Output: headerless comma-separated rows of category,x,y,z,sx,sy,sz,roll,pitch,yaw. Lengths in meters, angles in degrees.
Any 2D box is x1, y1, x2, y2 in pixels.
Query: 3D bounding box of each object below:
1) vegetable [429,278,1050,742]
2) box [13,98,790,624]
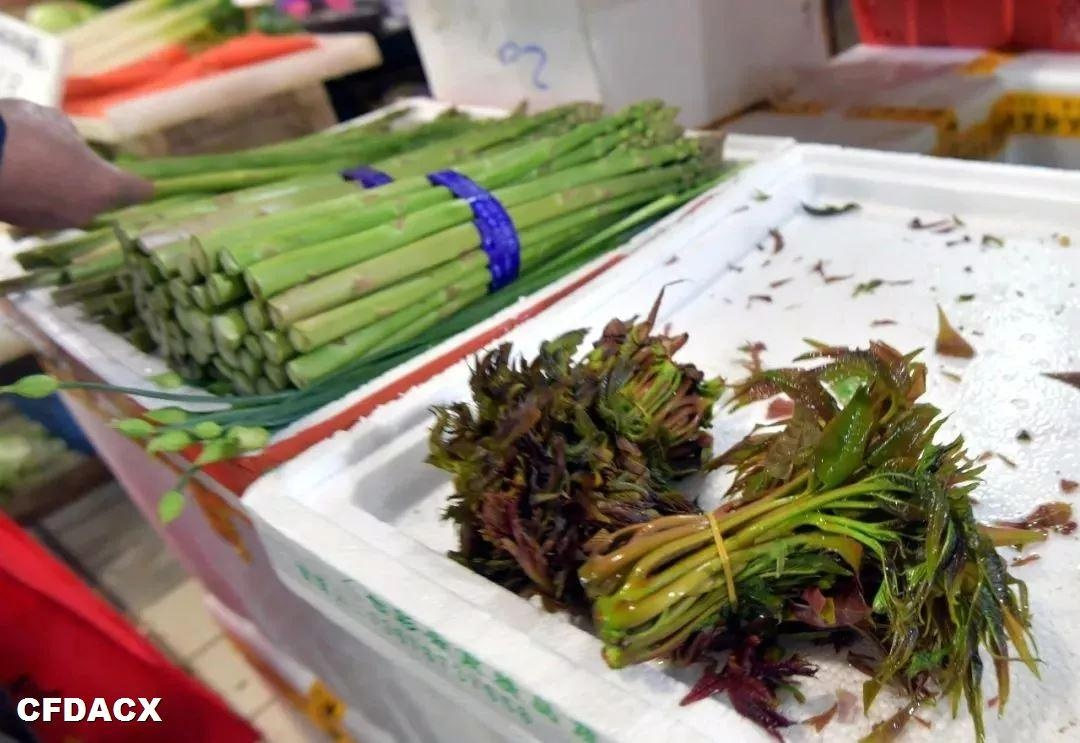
vegetable,0.238,0.183,1.020,0.769,0.288,0.494,14,51,14
box,-0.140,-0.016,1.560,1.110,0.390,0.830,-29,48,-16
